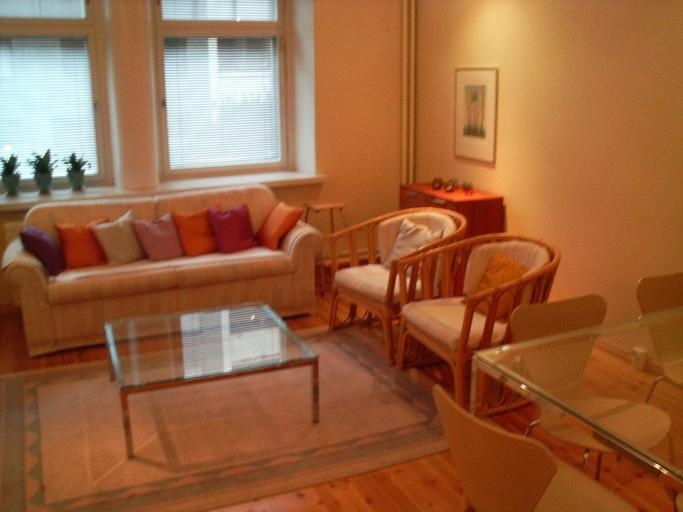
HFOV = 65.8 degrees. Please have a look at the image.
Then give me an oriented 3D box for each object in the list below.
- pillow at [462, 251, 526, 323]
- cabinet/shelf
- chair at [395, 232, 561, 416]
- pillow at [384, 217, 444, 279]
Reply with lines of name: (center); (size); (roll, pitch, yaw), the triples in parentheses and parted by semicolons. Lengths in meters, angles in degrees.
pillow: (0.994, 0.198, 3.418); (0.114, 0.378, 0.384); (13, 16, -27)
cabinet/shelf: (1.112, -0.234, 5.160); (0.563, 0.683, 0.987); (-4, 12, -23)
chair: (0.974, 0.423, 3.746); (1.096, 1.213, 1.099); (-7, 13, -30)
pillow: (0.570, -0.061, 4.141); (0.118, 0.375, 0.387); (19, 2, -38)
